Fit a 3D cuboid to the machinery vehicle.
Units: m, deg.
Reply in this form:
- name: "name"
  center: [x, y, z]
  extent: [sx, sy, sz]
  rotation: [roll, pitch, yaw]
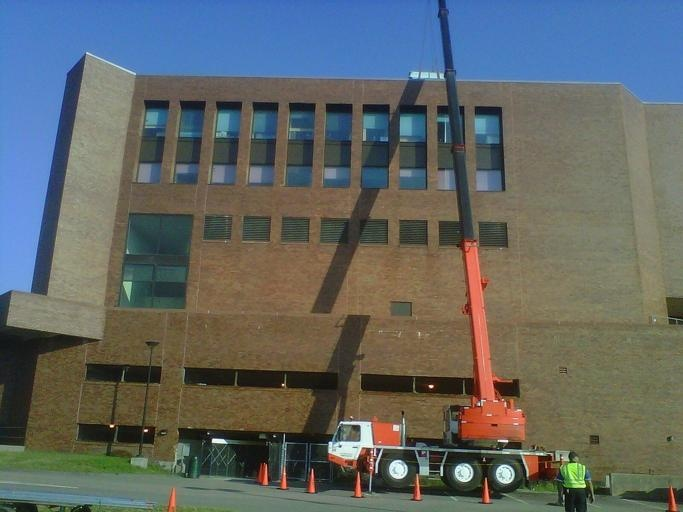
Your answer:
- name: "machinery vehicle"
  center: [6.013, -2.344, 40.177]
  extent: [10.141, 30.475, 6.863]
  rotation: [-3, -20, 13]
